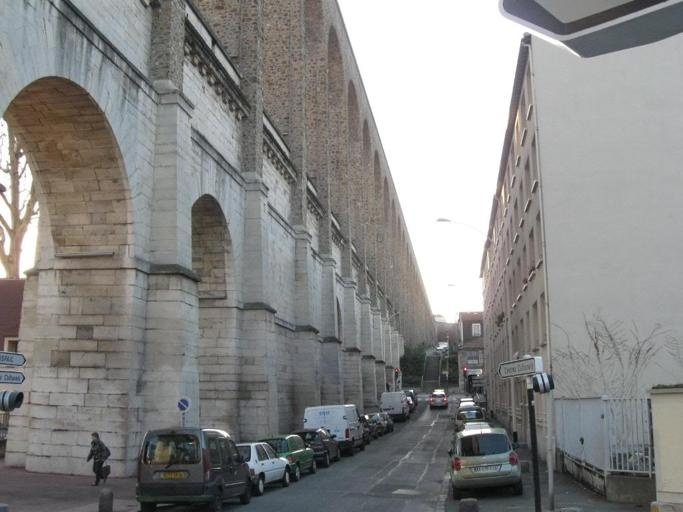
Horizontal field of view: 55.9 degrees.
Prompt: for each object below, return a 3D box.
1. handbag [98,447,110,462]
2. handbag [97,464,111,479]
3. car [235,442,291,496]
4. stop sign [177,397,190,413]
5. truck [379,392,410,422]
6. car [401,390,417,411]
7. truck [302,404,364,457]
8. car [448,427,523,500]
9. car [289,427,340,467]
[{"bbox_3d":[-6.526,5.468,17.792,0.222,0.344,0.286,-3,-14,-2],"label":"handbag"},{"bbox_3d":[-6.418,5.810,17.417,0.206,0.410,0.307,-8,-27,-5],"label":"handbag"},{"bbox_3d":[-2.395,6.452,19.899,0.935,1.040,2.038,-6,-12,18],"label":"car"},{"bbox_3d":[-4.666,4.427,19.163,0.506,0.409,0.185,-16,-22,39],"label":"stop sign"},{"bbox_3d":[4.547,12.444,53.909,1.445,1.716,3.096,-1,-5,15],"label":"truck"},{"bbox_3d":[6.914,14.947,66.358,1.472,1.541,2.740,-1,0,9],"label":"car"},{"bbox_3d":[-0.103,8.281,31.121,1.758,1.778,3.216,-4,-10,17],"label":"truck"},{"bbox_3d":[3.926,5.720,18.320,1.239,1.238,2.286,-4,-13,4],"label":"car"},{"bbox_3d":[-0.815,8.078,26.785,0.984,0.927,2.389,-6,-28,8],"label":"car"}]
